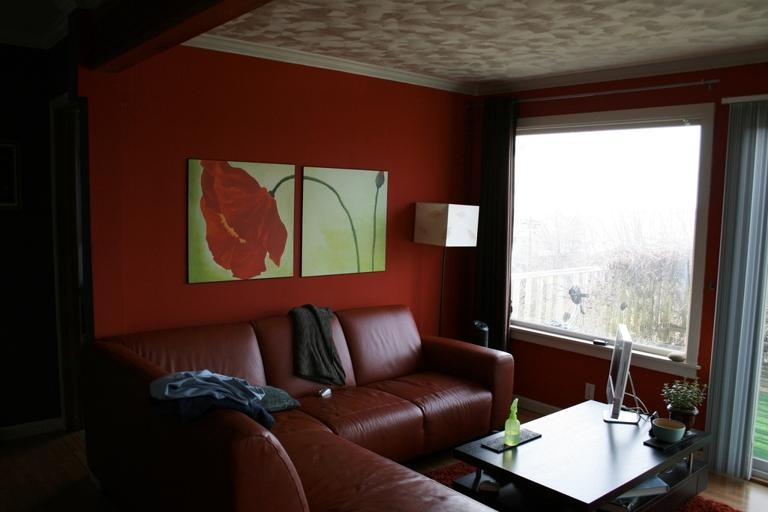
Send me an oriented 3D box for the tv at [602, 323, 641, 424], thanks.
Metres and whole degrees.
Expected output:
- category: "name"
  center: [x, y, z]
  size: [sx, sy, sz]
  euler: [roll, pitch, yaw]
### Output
- category: "tv"
  center: [2.029, 1.014, 4.457]
  size: [0.294, 0.781, 0.835]
  euler: [-1, -4, 15]
